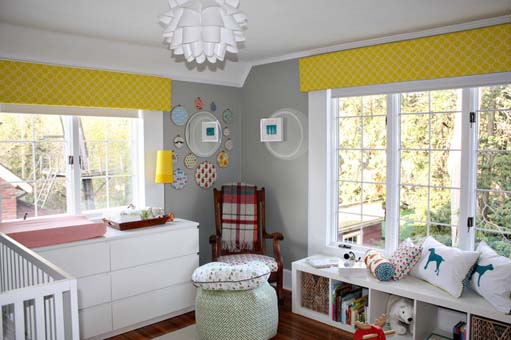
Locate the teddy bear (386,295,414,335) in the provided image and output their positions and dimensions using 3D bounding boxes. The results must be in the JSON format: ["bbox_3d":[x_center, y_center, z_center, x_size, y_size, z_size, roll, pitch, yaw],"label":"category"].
[{"bbox_3d":[1.530,1.501,3.802,0.234,0.220,0.368,-2,5,-6],"label":"teddy bear"}]

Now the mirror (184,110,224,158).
[{"bbox_3d":[-0.760,-0.513,5.156,0.055,0.802,0.680,3,0,44],"label":"mirror"}]

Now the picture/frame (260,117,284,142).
[{"bbox_3d":[0.246,-0.568,5.103,0.357,0.319,0.050,-1,-2,44],"label":"picture/frame"}]
